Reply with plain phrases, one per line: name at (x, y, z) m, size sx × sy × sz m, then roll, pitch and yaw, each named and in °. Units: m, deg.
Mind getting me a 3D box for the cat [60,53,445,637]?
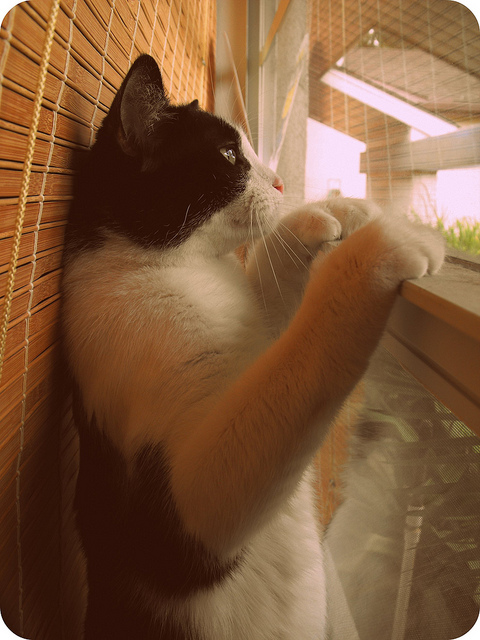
cat at (-0.023, 0.070, 0.552) m, size 0.338 × 0.626 × 0.286 m, roll 7°, pitch 10°, yaw -26°
